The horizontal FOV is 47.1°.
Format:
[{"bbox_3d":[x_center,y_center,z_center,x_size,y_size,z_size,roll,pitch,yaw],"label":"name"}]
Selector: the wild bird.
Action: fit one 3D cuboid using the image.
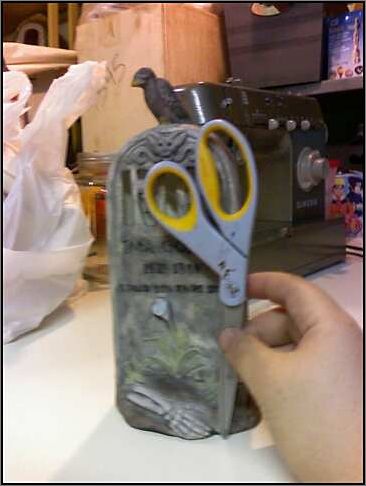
[{"bbox_3d":[-0.016,-0.108,0.307,0.043,0.047,0.024,-25,43,-27],"label":"wild bird"}]
